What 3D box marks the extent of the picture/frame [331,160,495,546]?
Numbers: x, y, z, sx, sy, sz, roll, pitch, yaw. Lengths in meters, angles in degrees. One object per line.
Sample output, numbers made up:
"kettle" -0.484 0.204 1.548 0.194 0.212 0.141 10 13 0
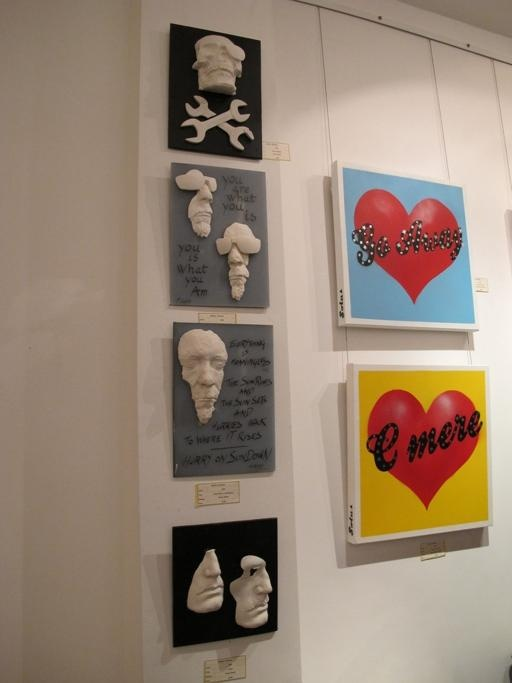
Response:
"picture/frame" 0.480 0.018 1.911 0.552 1.139 0.165 -3 1 -21
